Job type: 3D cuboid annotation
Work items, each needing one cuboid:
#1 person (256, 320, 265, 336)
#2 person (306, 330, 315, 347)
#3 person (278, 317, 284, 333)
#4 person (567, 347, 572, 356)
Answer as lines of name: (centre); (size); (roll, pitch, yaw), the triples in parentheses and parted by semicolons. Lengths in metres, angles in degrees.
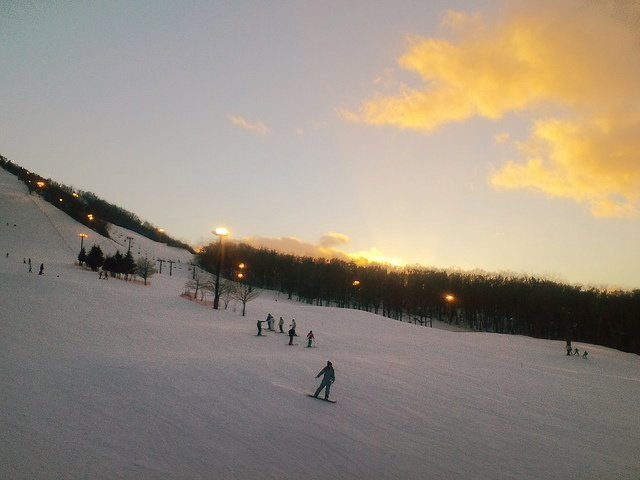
person: (-5.455, 8.095, 47.442); (0.320, 1.178, 1.045); (-6, 10, -15)
person: (-0.845, 8.424, 44.267); (0.399, 1.305, 1.589); (4, 1, -3)
person: (-3.675, 8.005, 48.815); (0.334, 1.212, 1.065); (4, 1, -6)
person: (25.689, 11.492, 53.430); (0.194, 0.926, 0.725); (5, 1, 45)
